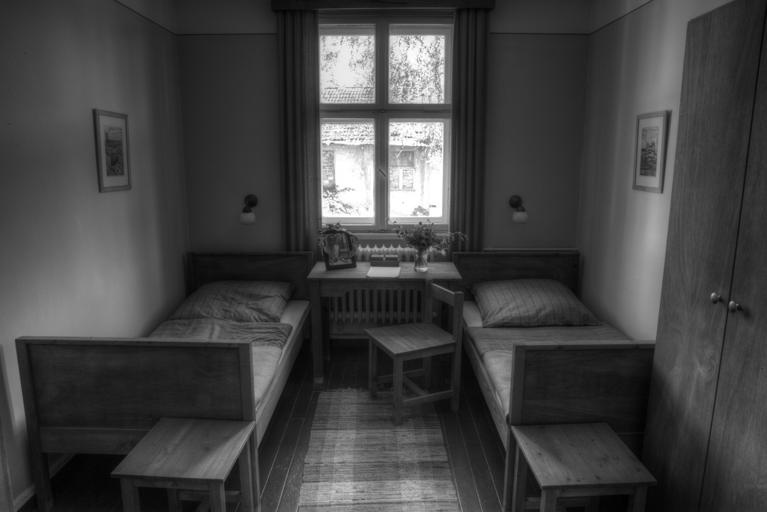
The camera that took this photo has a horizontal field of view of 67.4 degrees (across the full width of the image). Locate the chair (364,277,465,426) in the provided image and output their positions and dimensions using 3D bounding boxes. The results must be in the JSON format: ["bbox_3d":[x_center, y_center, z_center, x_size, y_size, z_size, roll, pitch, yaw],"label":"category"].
[{"bbox_3d":[0.252,0.763,4.777,0.800,0.957,0.828,0,10,4],"label":"chair"}]

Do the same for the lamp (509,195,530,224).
[{"bbox_3d":[1.287,-0.442,5.439,0.199,0.264,0.267,1,13,8],"label":"lamp"}]

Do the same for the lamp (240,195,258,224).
[{"bbox_3d":[-1.277,-0.442,5.449,0.164,0.263,0.300,-4,13,-10],"label":"lamp"}]

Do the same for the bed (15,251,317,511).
[{"bbox_3d":[-1.467,0.718,4.233,1.163,1.061,1.976,-1,16,0],"label":"bed"}]

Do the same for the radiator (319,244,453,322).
[{"bbox_3d":[-0.031,0.444,5.450,1.195,0.590,0.467,-2,11,7],"label":"radiator"}]

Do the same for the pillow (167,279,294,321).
[{"bbox_3d":[-1.398,0.394,5.477,1.125,0.230,1.122,-11,-6,34],"label":"pillow"}]

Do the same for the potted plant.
[{"bbox_3d":[0.442,-0.117,5.424,0.613,0.408,0.598,3,13,20],"label":"potted plant"}]

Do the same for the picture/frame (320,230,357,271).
[{"bbox_3d":[-0.427,-0.049,5.412,0.343,0.467,0.340,-3,26,-6],"label":"picture/frame"}]

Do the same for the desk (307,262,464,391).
[{"bbox_3d":[0.018,0.622,5.124,1.070,0.806,0.445,0,7,-1],"label":"desk"}]
